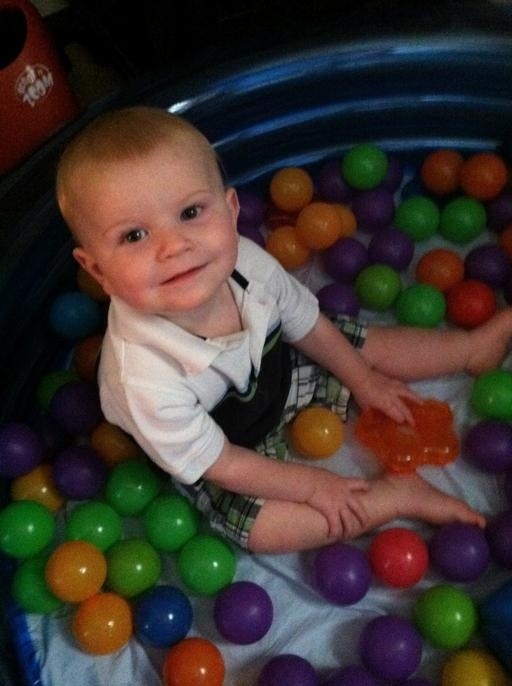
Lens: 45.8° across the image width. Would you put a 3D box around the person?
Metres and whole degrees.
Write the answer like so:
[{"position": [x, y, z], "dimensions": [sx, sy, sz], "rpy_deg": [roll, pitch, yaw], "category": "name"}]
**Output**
[{"position": [0.065, 0.000, 1.105], "dimensions": [0.680, 0.723, 0.602], "rpy_deg": [14, 66, 23], "category": "person"}]
